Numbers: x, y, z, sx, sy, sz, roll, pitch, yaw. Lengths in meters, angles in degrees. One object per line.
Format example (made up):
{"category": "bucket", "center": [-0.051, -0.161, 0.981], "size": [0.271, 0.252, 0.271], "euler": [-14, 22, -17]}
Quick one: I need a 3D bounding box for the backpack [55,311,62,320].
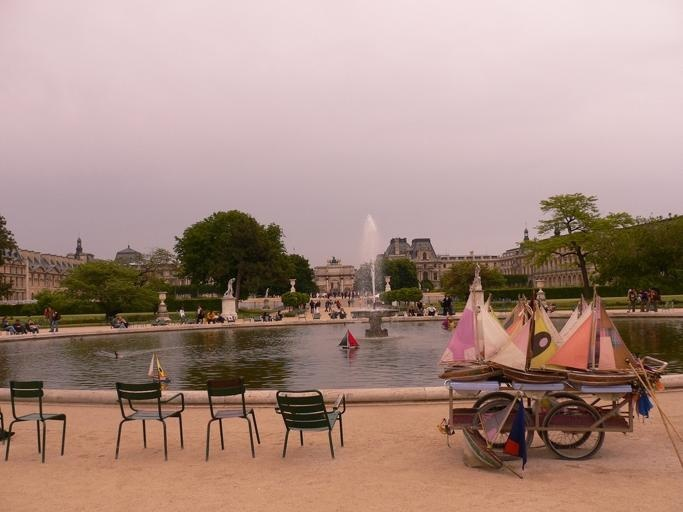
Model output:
{"category": "backpack", "center": [-14.134, 3.005, 50.450], "size": [0.303, 0.347, 0.620], "euler": [-4, 5, -17]}

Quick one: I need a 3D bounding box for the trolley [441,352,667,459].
{"category": "trolley", "center": [3.932, 2.951, 19.662], "size": [3.238, 1.372, 2.234], "euler": [-1, -3, 0]}
